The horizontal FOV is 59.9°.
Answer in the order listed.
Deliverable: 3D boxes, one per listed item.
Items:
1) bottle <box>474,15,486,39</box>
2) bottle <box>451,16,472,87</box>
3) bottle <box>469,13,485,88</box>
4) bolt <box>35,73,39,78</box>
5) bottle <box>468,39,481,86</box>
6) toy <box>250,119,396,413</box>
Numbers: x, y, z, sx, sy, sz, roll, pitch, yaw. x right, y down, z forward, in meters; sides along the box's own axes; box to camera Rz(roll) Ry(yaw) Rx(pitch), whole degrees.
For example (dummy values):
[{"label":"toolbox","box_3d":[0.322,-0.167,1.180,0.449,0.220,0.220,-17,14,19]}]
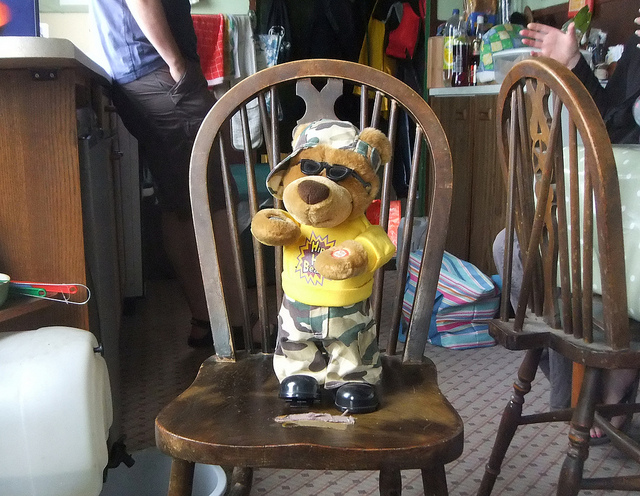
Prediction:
[{"label":"bottle","box_3d":[0.849,-1.171,2.945,0.053,0.118,0.135,3,21,18]},{"label":"bottle","box_3d":[0.774,-1.054,3.015,0.108,0.318,0.273,2,20,14]},{"label":"bottle","box_3d":[0.800,-1.015,2.846,0.072,0.349,0.462,3,21,15]},{"label":"bolt","box_3d":[-0.574,-0.350,1.129,0.008,0.007,0.002,-3,19,1]},{"label":"bottle","box_3d":[0.809,-0.965,2.894,0.054,0.224,0.180,0,20,8]},{"label":"toy","box_3d":[0.009,0.017,1.053,0.263,0.480,0.334,0,20,8]}]
